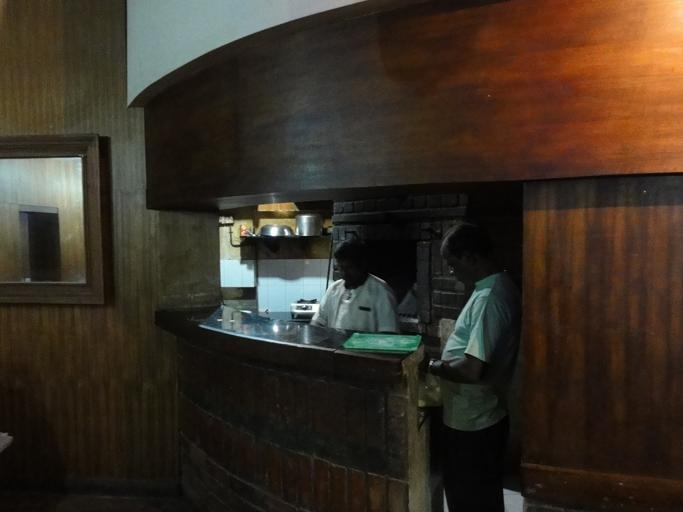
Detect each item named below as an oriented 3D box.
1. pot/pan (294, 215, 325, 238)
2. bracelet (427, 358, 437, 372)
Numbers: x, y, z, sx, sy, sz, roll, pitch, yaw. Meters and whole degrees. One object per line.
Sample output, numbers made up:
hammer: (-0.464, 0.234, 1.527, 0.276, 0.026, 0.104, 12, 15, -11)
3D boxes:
pot/pan: (-0.371, -0.314, 7.269, 0.246, 0.223, 0.252, 1, -3, 3)
bracelet: (0.504, 0.606, 3.674, 0.069, 0.071, 0.043, 4, -2, -4)
